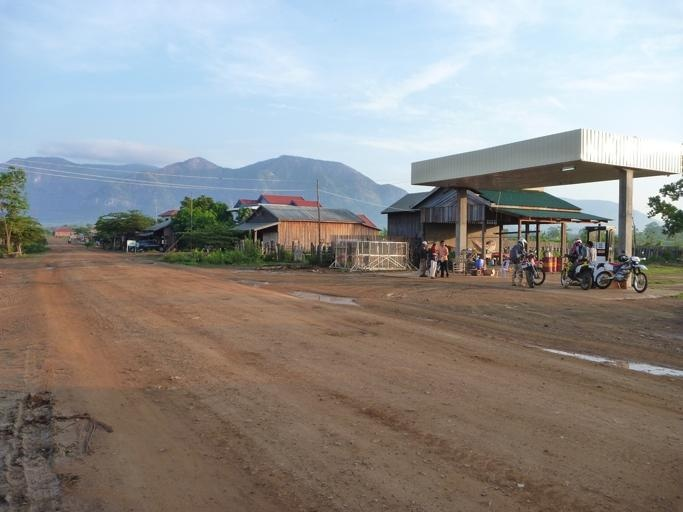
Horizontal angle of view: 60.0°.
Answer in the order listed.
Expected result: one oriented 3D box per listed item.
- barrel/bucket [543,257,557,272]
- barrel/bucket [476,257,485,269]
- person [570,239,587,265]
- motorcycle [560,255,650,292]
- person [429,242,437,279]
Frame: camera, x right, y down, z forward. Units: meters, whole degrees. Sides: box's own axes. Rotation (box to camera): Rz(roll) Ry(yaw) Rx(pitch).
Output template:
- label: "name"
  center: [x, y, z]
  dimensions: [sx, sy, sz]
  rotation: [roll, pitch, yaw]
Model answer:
- label: "barrel/bucket"
  center: [11.716, 0.496, 33.370]
  dimensions: [0.496, 0.780, 0.942]
  rotation: [7, 3, 43]
- label: "barrel/bucket"
  center: [6.885, 0.389, 29.363]
  dimensions: [0.333, 0.589, 0.821]
  rotation: [6, 13, 21]
- label: "person"
  center: [8.464, -0.144, 21.079]
  dimensions: [0.358, 0.748, 0.664]
  rotation: [19, -6, -17]
- label: "motorcycle"
  center: [9.305, 0.625, 20.919]
  dimensions: [2.905, 1.278, 1.273]
  rotation: [-1, -1, 35]
- label: "person"
  center: [4.111, 0.265, 26.451]
  dimensions: [0.342, 1.507, 0.690]
  rotation: [3, 13, 9]
